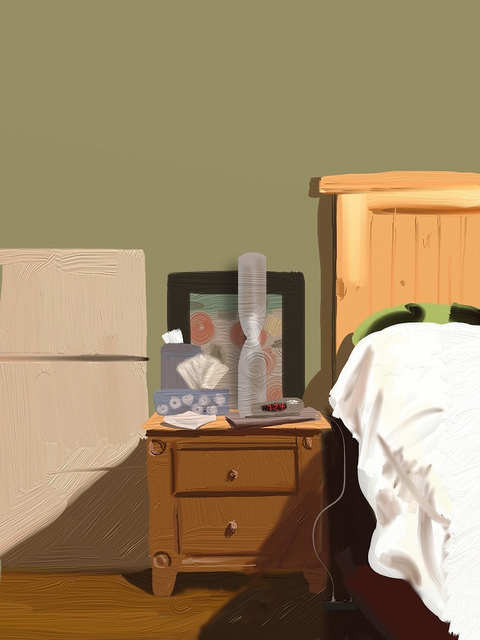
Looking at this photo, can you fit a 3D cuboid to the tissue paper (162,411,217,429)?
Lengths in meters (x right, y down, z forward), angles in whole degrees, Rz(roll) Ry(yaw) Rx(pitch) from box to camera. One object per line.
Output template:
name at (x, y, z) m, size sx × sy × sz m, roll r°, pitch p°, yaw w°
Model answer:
tissue paper at (-0.173, 0.342, 2.671) m, size 0.140 × 0.029 × 0.165 m, roll 2°, pitch 6°, yaw 28°

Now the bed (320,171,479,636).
bed at (0.557, 0.250, 2.473) m, size 0.583 × 1.528 × 1.036 m, roll -1°, pitch 6°, yaw 6°

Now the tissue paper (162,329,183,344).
tissue paper at (-0.253, 0.062, 2.901) m, size 0.074 × 0.050 × 0.043 m, roll -2°, pitch 6°, yaw -4°

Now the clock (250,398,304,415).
clock at (0.122, 0.295, 2.652) m, size 0.137 × 0.025 × 0.066 m, roll -3°, pitch 2°, yaw -1°
